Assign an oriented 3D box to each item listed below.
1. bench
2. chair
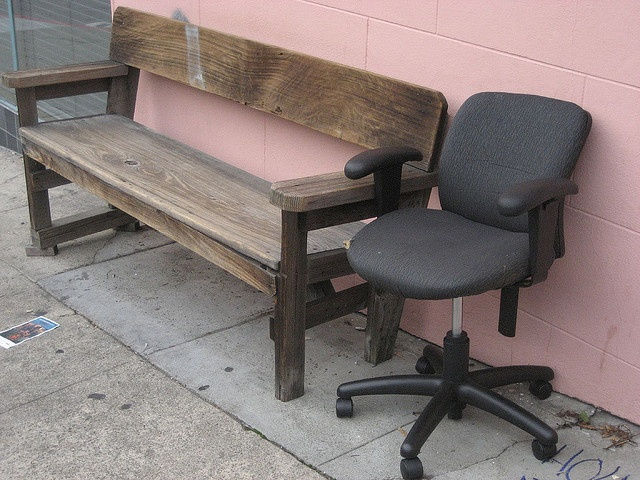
[{"bbox_3d":[-0.427,-0.159,2.657,2.157,1.017,0.829,24,35,35],"label":"bench"},{"bbox_3d":[0.538,0.127,2.042,0.890,1.242,0.900,1,30,-10],"label":"chair"}]
